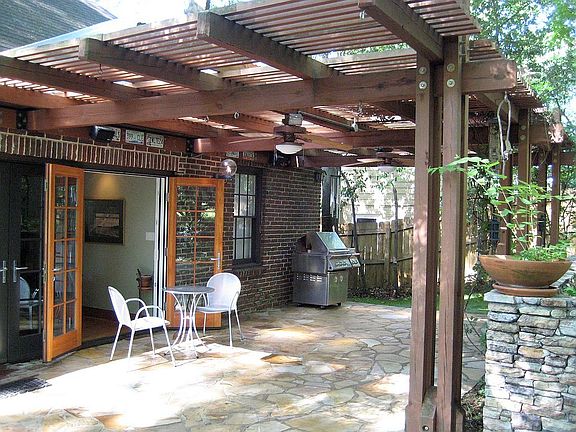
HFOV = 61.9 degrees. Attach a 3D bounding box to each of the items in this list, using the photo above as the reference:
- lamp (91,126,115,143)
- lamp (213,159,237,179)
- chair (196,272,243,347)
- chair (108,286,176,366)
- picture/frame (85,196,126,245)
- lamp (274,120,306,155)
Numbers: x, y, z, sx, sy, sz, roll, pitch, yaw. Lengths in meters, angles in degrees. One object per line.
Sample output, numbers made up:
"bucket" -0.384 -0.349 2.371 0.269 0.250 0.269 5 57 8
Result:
"lamp" -2.671 -1.153 6.907 0.309 0.218 0.297 6 7 -25
"lamp" -1.100 -0.848 8.729 0.387 0.433 0.387 -1 4 -34
"chair" -1.123 1.421 7.457 0.790 1.026 0.762 0 -2 0
"chair" -1.998 1.490 6.666 0.574 0.821 0.523 -2 3 -25
"picture/frame" -3.617 0.102 9.540 0.956 0.955 0.042 -3 -6 40
"lamp" -0.031 -1.019 6.259 0.411 0.531 0.412 0 2 -27
